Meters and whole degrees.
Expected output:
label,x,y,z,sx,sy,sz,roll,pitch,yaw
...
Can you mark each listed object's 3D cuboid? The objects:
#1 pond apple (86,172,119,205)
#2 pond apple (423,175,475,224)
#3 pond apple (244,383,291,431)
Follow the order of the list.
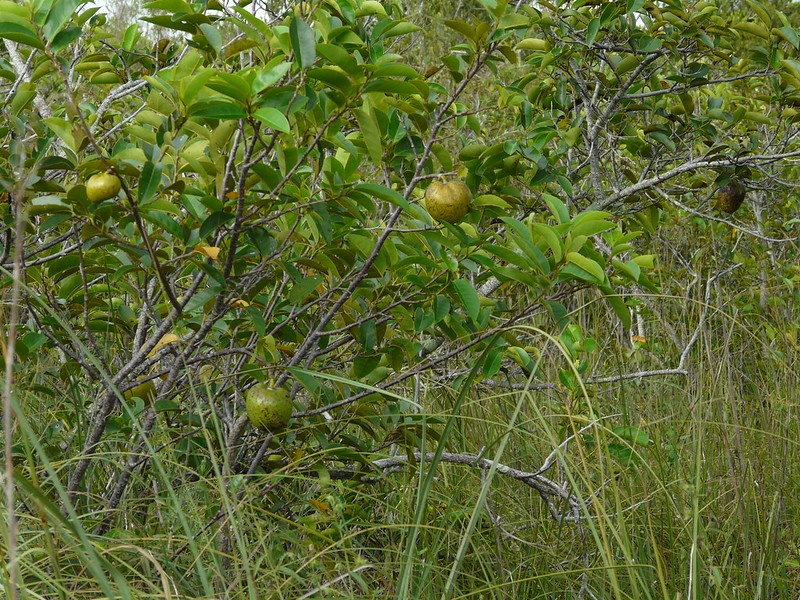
label,x,y,z,sx,sy,sz,roll,pitch,yaw
pond apple,-0.996,-0.366,2.556,0.111,0.122,0.110,18,16,41
pond apple,0.174,-0.385,2.816,0.158,0.193,0.173,10,46,16
pond apple,-0.476,0.396,2.766,0.154,0.169,0.153,6,-7,-35
